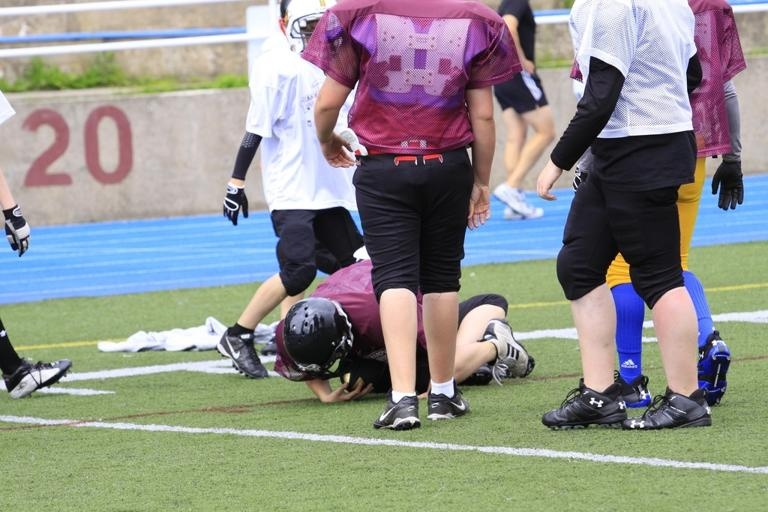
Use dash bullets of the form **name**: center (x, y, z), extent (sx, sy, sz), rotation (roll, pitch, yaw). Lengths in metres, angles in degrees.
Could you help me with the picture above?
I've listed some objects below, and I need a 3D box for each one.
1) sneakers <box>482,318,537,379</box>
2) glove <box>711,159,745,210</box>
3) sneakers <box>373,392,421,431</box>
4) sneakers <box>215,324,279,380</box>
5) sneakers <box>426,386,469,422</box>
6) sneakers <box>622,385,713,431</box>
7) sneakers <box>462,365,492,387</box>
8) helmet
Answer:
- **sneakers**: center (0.758, 0.583, 6.422), extent (0.205, 0.488, 0.252), rotation (14, 60, 33)
- **glove**: center (2.048, -0.432, 6.125), extent (0.224, 0.289, 0.085), rotation (0, 4, 2)
- **sneakers**: center (0.092, 0.832, 5.441), extent (0.115, 0.160, 0.305), rotation (8, -9, -32)
- **sneakers**: center (-0.942, 0.631, 7.039), extent (0.487, 0.251, 0.179), rotation (43, 27, 19)
- **sneakers**: center (0.342, 0.821, 5.681), extent (0.109, 0.128, 0.290), rotation (2, 4, 36)
- **sneakers**: center (1.481, 0.779, 5.314), extent (0.544, 0.226, 0.180), rotation (0, 1, 11)
- **sneakers**: center (0.559, 0.745, 6.484), extent (0.246, 0.109, 0.089), rotation (3, 6, 44)
- **helmet**: center (-0.392, 0.485, 5.782), extent (0.365, 0.456, 0.471), rotation (-11, 14, 23)
